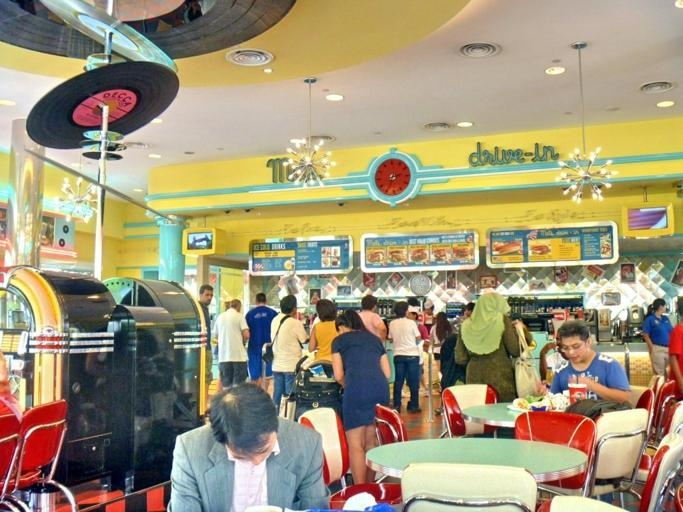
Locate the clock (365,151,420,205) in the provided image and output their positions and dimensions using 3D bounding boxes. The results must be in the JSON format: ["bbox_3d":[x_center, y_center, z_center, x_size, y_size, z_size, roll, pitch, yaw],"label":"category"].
[{"bbox_3d":[0.808,-1.230,9.037,1.018,1.012,0.141,0,2,19],"label":"clock"}]

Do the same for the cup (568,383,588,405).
[{"bbox_3d":[1.723,1.009,4.245,0.144,0.135,0.139,0,-8,0],"label":"cup"}]

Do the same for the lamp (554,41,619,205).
[{"bbox_3d":[3.238,-1.400,7.682,0.717,1.467,3.252,-2,-3,25],"label":"lamp"}]

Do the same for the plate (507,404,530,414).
[{"bbox_3d":[1.368,1.182,4.495,0.146,0.025,0.129,0,1,15],"label":"plate"}]

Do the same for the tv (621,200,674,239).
[{"bbox_3d":[4.423,-0.523,8.328,0.664,0.424,0.086,-1,-7,20],"label":"tv"}]

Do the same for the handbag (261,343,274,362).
[{"bbox_3d":[-0.905,1.189,7.189,0.123,0.209,0.209,0,-3,-8],"label":"handbag"}]

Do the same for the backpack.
[{"bbox_3d":[1.783,1.272,4.032,0.462,0.506,0.198,12,-3,-22],"label":"backpack"}]
